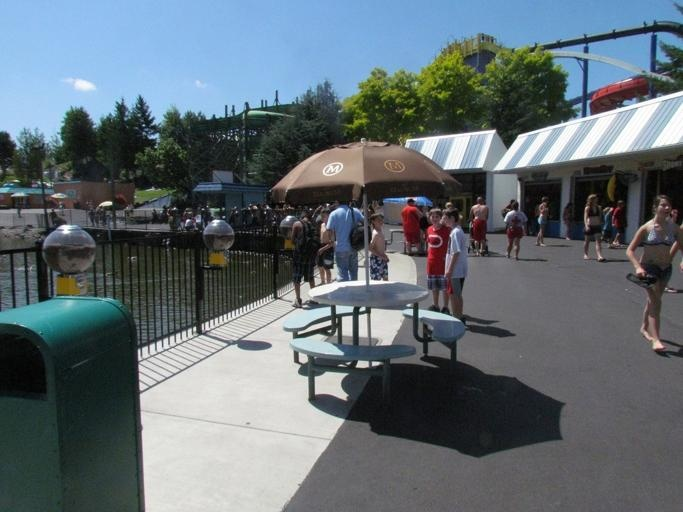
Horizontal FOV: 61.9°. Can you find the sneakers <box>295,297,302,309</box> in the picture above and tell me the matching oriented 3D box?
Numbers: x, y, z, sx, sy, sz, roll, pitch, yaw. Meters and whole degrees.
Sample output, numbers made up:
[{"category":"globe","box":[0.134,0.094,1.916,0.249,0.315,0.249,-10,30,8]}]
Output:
[{"category":"sneakers","box":[-0.786,0.863,10.404,0.126,0.154,0.328,1,7,-4]}]

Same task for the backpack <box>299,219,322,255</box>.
[{"category":"backpack","box":[-0.587,-0.289,10.610,0.365,0.755,0.446,3,-4,36]}]

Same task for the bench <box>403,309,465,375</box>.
[{"category":"bench","box":[1.217,1.170,6.917,0.485,0.405,1.194,-6,11,-14]}]

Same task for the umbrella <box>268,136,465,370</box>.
[{"category":"umbrella","box":[0.314,0.019,7.409,2.317,2.952,2.615,-1,1,7]}]

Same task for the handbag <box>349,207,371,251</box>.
[{"category":"handbag","box":[0.310,-0.402,9.425,0.325,0.764,0.490,1,-10,3]}]

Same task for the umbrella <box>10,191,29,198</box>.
[{"category":"umbrella","box":[-40.995,-7.739,72.869,1.756,0.720,3.897,-7,14,-29]}]
